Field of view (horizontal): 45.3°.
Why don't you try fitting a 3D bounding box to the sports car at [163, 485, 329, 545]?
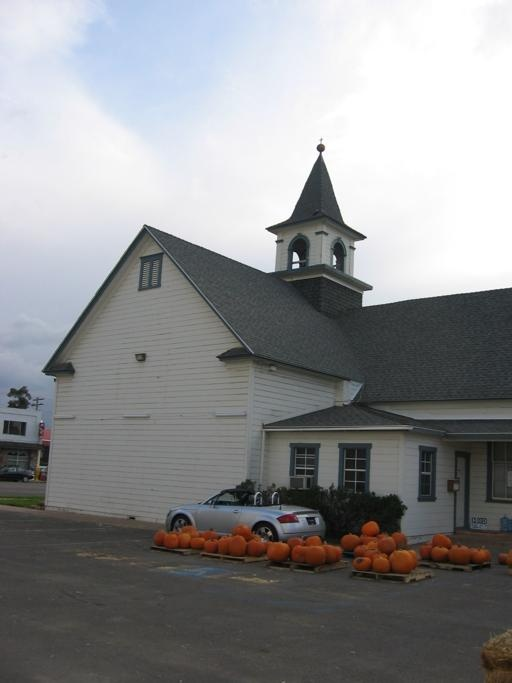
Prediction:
[{"bbox_3d":[-0.271,4.006,14.045,3.700,1.078,1.652,-8,-17,35],"label":"sports car"}]
